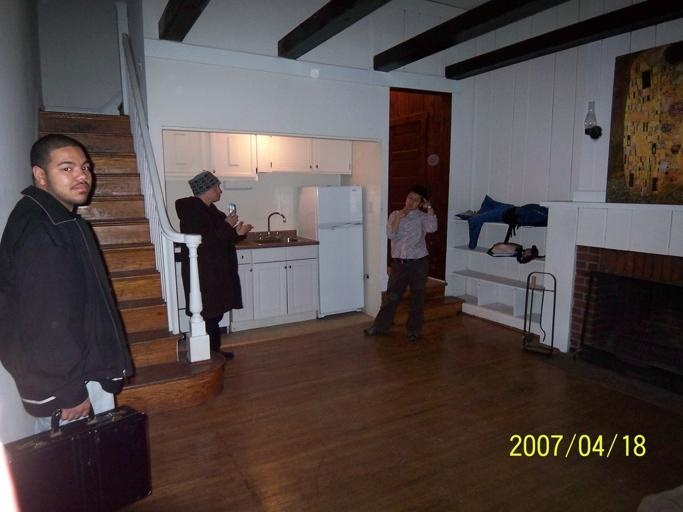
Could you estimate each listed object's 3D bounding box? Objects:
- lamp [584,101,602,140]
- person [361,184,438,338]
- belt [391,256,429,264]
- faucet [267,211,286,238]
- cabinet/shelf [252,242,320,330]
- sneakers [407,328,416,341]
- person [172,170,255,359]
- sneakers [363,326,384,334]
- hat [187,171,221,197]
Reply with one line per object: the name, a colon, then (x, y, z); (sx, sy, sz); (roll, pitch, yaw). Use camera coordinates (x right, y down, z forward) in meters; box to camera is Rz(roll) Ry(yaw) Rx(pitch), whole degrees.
lamp: (2.449, -1.324, 4.708); (0.149, 0.392, 0.159); (3, 10, 30)
person: (0.670, 0.080, 5.311); (0.718, 1.670, 0.298); (-2, 9, 4)
belt: (0.736, 0.045, 5.257); (0.386, 0.090, 0.109); (-1, 9, 10)
faucet: (-0.861, -0.421, 6.264); (0.135, 0.313, 0.340); (4, 11, 35)
cabinet/shelf: (-0.689, 0.332, 5.723); (0.944, 1.065, 0.582); (-2, 11, -16)
sneakers: (0.774, 0.871, 5.311); (0.108, 0.117, 0.110); (0, 5, 11)
person: (-1.150, 0.078, 4.465); (0.592, 1.701, 0.478); (-6, 10, -20)
sneakers: (0.354, 0.846, 5.495); (0.225, 0.090, 0.080); (5, -6, -13)
hat: (-1.248, -0.675, 4.509); (0.260, 0.197, 0.217); (-43, 34, -24)
